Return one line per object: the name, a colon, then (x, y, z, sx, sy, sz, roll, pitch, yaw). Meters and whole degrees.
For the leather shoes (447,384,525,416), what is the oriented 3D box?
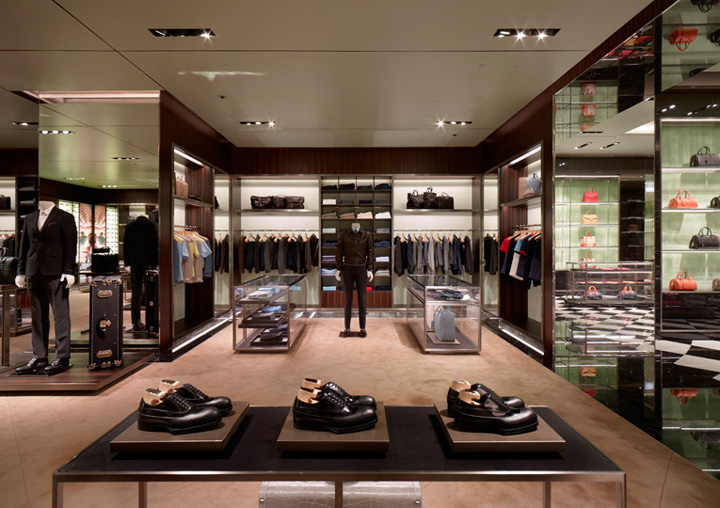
leather shoes: (0.834, 0.975, 3.371, 0.628, 0.238, 0.209, -1, -1, -8)

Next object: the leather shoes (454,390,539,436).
leather shoes: (0.899, 1.076, 3.394, 0.442, 0.183, 0.281, -1, -3, -1)

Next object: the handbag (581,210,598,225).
handbag: (2.825, -0.446, 6.144, 0.183, 0.178, 0.152, 0, 5, 16)

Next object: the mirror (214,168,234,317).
mirror: (-2.516, -0.169, 9.097, 0.342, 2.259, 0.476, -3, 1, 6)

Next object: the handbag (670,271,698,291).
handbag: (3.321, 0.274, 5.142, 0.212, 0.173, 0.096, 0, 4, 5)

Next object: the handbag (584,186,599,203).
handbag: (2.826, -0.726, 6.130, 0.199, 0.188, 0.146, 0, 0, 2)

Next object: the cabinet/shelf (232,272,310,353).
cabinet/shelf: (-1.328, 0.860, 7.157, 0.950, 0.905, 1.044, -3, 2, -6)

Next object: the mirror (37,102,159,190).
mirror: (-3.755, -1.558, 7.292, 0.024, 1.367, 1.909, 14, 15, 24)

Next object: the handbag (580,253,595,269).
handbag: (2.810, 0.090, 6.137, 0.187, 0.275, 0.098, 0, -5, 8)

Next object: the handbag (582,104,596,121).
handbag: (2.797, -1.732, 6.087, 0.050, 0.155, 0.164, -2, 7, -33)

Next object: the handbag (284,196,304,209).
handbag: (-1.232, -0.967, 9.472, 0.329, 0.217, 0.224, 0, -9, -4)

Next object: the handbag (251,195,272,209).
handbag: (-1.844, -0.963, 9.415, 0.261, 0.172, 0.262, 2, 3, 40)

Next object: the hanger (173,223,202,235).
hanger: (-2.787, -0.397, 7.993, 0.196, 0.140, 0.694, -2, 2, 4)

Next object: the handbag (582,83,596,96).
handbag: (2.753, -1.975, 5.993, 0.138, 0.135, 0.101, 0, 2, 2)

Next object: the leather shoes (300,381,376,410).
leather shoes: (-0.153, 0.952, 3.472, 0.595, 0.209, 0.199, 0, -2, -6)

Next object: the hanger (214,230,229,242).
hanger: (-2.541, -0.346, 9.242, 0.309, 0.289, 0.169, 1, 2, -3)

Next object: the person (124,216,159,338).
person: (-3.054, 0.283, 7.116, 0.530, 1.640, 0.272, -2, 1, 24)

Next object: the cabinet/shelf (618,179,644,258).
cabinet/shelf: (3.097, -0.332, 5.722, 0.287, 0.862, 0.184, -1, 2, 3)

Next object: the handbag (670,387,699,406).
handbag: (3.365, 1.475, 5.172, 0.160, 0.100, 0.157, -3, 2, -13)

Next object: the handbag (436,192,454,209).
handbag: (1.611, -1.006, 9.511, 0.350, 0.322, 0.157, 0, 4, 1)

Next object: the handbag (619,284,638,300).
handbag: (3.089, 0.431, 5.729, 0.179, 0.115, 0.281, 0, 5, 20)

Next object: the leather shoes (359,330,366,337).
leather shoes: (0.055, 1.217, 7.634, 0.111, 0.077, 0.114, -3, 2, -3)

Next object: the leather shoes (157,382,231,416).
leather shoes: (-1.134, 0.993, 3.508, 0.538, 0.211, 0.186, -1, 10, 13)

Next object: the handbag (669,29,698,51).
handbag: (3.221, -2.141, 4.977, 0.165, 0.136, 0.204, -1, 3, 2)

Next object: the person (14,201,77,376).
person: (-3.753, 0.389, 5.970, 0.702, 2.212, 0.331, -3, 1, -5)

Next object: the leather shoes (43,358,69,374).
leather shoes: (-3.582, 1.340, 5.925, 0.123, 0.129, 0.289, -1, -6, 10)

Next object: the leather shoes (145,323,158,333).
leather shoes: (-2.953, 1.056, 7.110, 0.163, 0.144, 0.086, 0, -3, -2)

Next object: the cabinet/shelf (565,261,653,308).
cabinet/shelf: (2.924, 0.365, 5.870, 0.221, 0.573, 1.132, -3, 2, -27)

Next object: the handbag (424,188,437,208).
handbag: (1.375, -1.070, 9.595, 0.243, 0.434, 0.372, -2, 2, 7)

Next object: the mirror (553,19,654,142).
mirror: (2.799, -2.003, 5.653, 0.185, 0.446, 1.280, -10, -4, -17)

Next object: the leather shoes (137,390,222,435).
leather shoes: (-1.211, 1.052, 3.353, 0.469, 0.194, 0.249, 0, -2, -6)

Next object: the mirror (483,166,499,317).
mirror: (2.321, -0.170, 8.897, 0.317, 2.489, 0.799, -2, 1, 13)

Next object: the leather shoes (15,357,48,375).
leather shoes: (-3.886, 1.345, 5.952, 0.441, 0.185, 0.159, 8, -10, -42)

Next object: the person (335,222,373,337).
person: (-0.051, 0.395, 7.755, 0.574, 1.311, 0.460, -3, 1, -1)
